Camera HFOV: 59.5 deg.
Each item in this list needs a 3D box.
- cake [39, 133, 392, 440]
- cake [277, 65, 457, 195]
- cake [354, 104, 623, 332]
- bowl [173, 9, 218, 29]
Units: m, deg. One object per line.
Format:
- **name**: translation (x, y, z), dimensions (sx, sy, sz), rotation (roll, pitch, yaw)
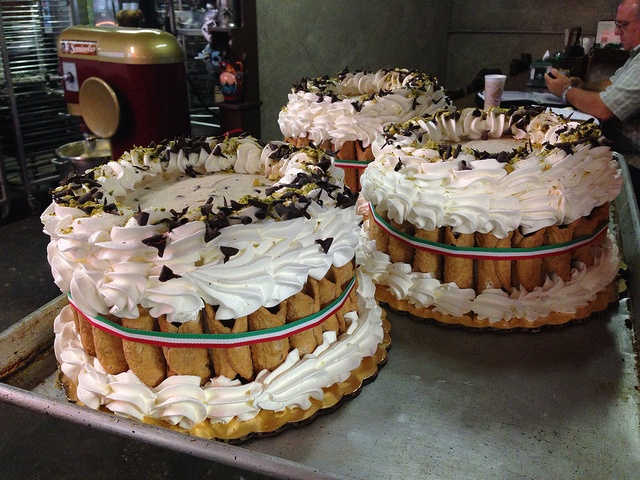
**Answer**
- **cake**: translation (-0.265, 0.192, 1.556), dimensions (0.894, 0.433, 0.846), rotation (-4, 30, -3)
- **cake**: translation (0.188, -0.625, 2.443), dimensions (0.722, 0.389, 0.699), rotation (3, 23, 18)
- **cake**: translation (0.578, -0.096, 1.889), dimensions (0.885, 0.519, 0.650), rotation (0, 24, 3)
- **bowl**: translation (-0.961, -1.677, 4.237), dimensions (0.243, 0.075, 0.179), rotation (-2, 35, -1)
